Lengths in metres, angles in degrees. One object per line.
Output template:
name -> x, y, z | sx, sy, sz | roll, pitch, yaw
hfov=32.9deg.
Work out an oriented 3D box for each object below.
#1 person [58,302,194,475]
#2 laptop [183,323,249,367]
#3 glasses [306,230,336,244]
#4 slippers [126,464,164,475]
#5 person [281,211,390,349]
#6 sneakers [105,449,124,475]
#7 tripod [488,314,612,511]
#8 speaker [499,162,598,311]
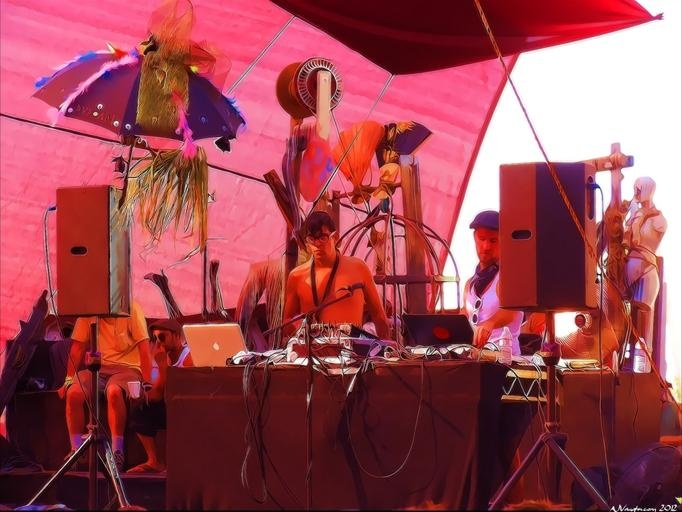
person -> -1.516, 0.949, 8.007 | 0.634, 1.426, 0.771 | -5, -27, -1
laptop -> -0.788, 0.534, 7.232 | 0.318, 0.290, 0.262 | -3, 6, 13
glasses -> -0.139, -0.136, 7.682 | 0.163, 0.085, 0.083 | 2, -6, 0
slippers -> -1.383, 1.523, 8.248 | 0.241, 0.071, 0.102 | 4, -11, -12
person -> -0.041, 0.143, 7.872 | 0.730, 0.839, 1.273 | 1, -6, 9
sneakers -> -1.483, 1.346, 7.605 | 0.073, 0.280, 0.168 | -9, -7, -7
tripod -> 1.353, 1.062, 7.419 | 0.771, 1.380, 0.825 | -4, -9, 14
speaker -> 1.370, -0.068, 7.690 | 0.646, 1.502, 0.849 | -1, -4, 11
